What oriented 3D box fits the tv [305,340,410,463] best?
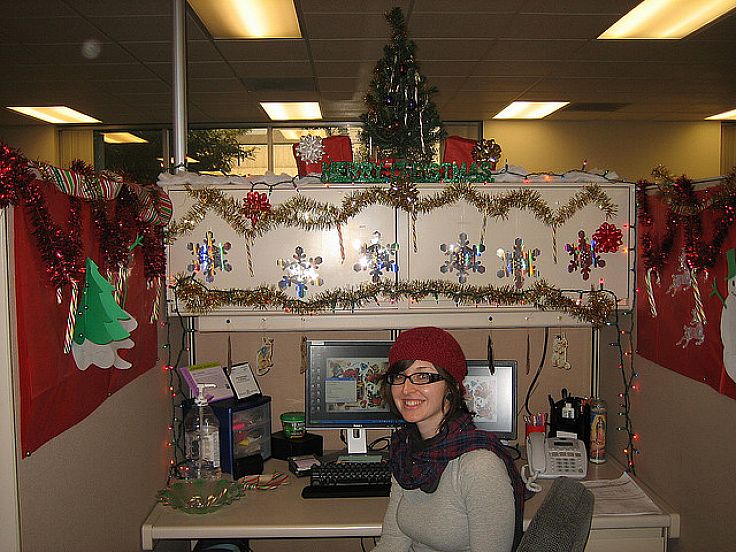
[{"bbox_3d":[-0.057,0.540,2.793,0.589,0.665,0.218,-1,-6,0],"label":"tv"}]

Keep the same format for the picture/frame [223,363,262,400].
[{"bbox_3d":[-0.580,0.488,2.923,0.040,0.150,0.151,-26,-18,35],"label":"picture/frame"}]

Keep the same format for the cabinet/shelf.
[{"bbox_3d":[-0.615,0.745,2.948,0.227,0.276,0.301,-5,-2,28],"label":"cabinet/shelf"}]

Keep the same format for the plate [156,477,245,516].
[{"bbox_3d":[-0.684,0.907,2.564,0.339,0.082,0.345,4,-3,-24],"label":"plate"}]

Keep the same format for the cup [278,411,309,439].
[{"bbox_3d":[-0.356,0.700,2.974,0.113,0.083,0.114,0,0,0],"label":"cup"}]
